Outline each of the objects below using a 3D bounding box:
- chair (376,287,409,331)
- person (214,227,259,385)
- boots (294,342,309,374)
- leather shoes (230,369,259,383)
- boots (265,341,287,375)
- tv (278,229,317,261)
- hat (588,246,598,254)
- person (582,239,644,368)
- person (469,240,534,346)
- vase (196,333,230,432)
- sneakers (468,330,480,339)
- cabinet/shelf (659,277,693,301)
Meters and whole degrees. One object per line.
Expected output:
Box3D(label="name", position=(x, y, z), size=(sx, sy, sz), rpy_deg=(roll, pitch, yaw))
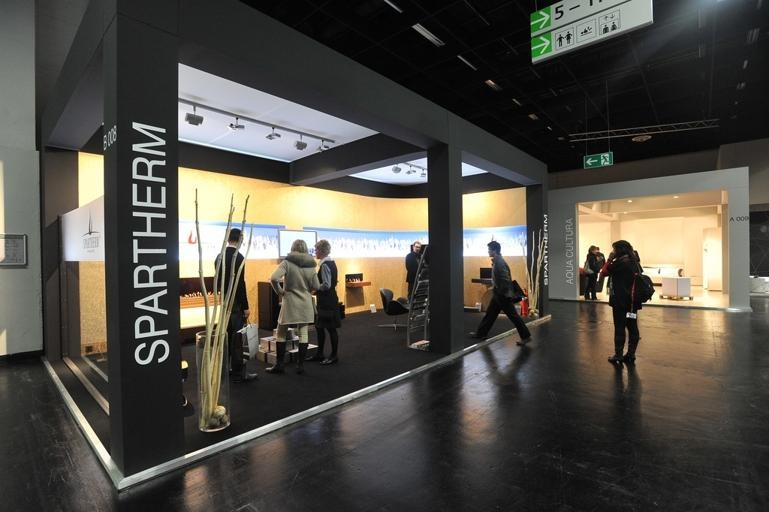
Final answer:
Box3D(label="chair", position=(0.189, 1.015, 9.477), size=(0.715, 0.804, 0.768), rpy_deg=(-3, -5, 20))
Box3D(label="person", position=(-2.065, 0.697, 6.579), size=(0.426, 2.203, 1.450), rpy_deg=(-6, 15, -18))
Box3D(label="boots", position=(-1.227, 1.493, 7.092), size=(0.146, 0.433, 0.364), rpy_deg=(0, 15, 3))
Box3D(label="leather shoes", position=(-1.995, 1.707, 6.809), size=(0.175, 0.139, 0.424), rpy_deg=(4, 2, 21))
Box3D(label="boots", position=(-1.629, 1.478, 7.094), size=(0.311, 0.482, 0.304), rpy_deg=(1, 15, 6))
Box3D(label="tv", position=(-1.718, -0.231, 9.147), size=(0.687, 0.441, 0.069), rpy_deg=(2, -6, -42))
Box3D(label="hat", position=(5.934, -0.167, 13.586), size=(0.238, 0.289, 0.215), rpy_deg=(26, 13, 27))
Box3D(label="person", position=(3.616, 0.702, 7.272), size=(0.533, 1.811, 0.546), rpy_deg=(9, 17, 34))
Box3D(label="person", position=(2.164, 0.637, 8.743), size=(0.989, 1.957, 1.033), rpy_deg=(3, 15, 15))
Box3D(label="vase", position=(-2.028, 1.449, 5.607), size=(0.411, 1.109, 0.456), rpy_deg=(-6, 15, -19))
Box3D(label="sneakers", position=(1.644, 1.464, 8.843), size=(0.070, 0.146, 0.209), rpy_deg=(5, -5, -41))
Box3D(label="cabinet/shelf", position=(8.043, 0.870, 13.218), size=(0.694, 0.648, 0.692), rpy_deg=(-2, 4, -38))
